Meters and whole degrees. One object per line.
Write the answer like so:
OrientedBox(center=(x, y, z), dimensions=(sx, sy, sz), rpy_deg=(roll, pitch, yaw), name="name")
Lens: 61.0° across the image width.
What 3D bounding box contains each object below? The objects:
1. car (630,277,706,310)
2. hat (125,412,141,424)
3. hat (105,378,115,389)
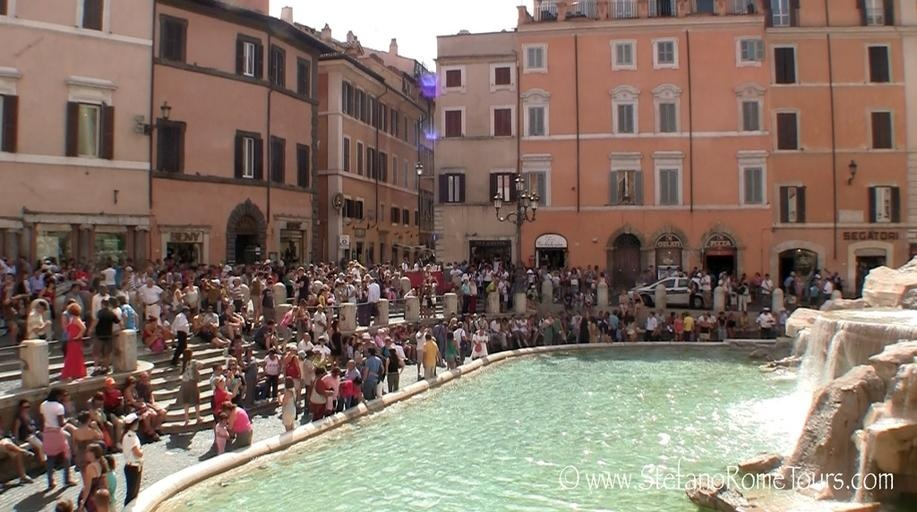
OrientedBox(center=(12.910, 2.265, 48.106), dimensions=(4.211, 1.374, 1.922), rpy_deg=(2, 0, 3), name="car")
OrientedBox(center=(-12.380, 6.145, 29.461), dimensions=(0.409, 0.343, 0.987), rpy_deg=(-2, -3, -28), name="hat")
OrientedBox(center=(-14.236, 5.160, 31.817), dimensions=(0.338, 0.389, 0.918), rpy_deg=(-2, -3, -25), name="hat")
